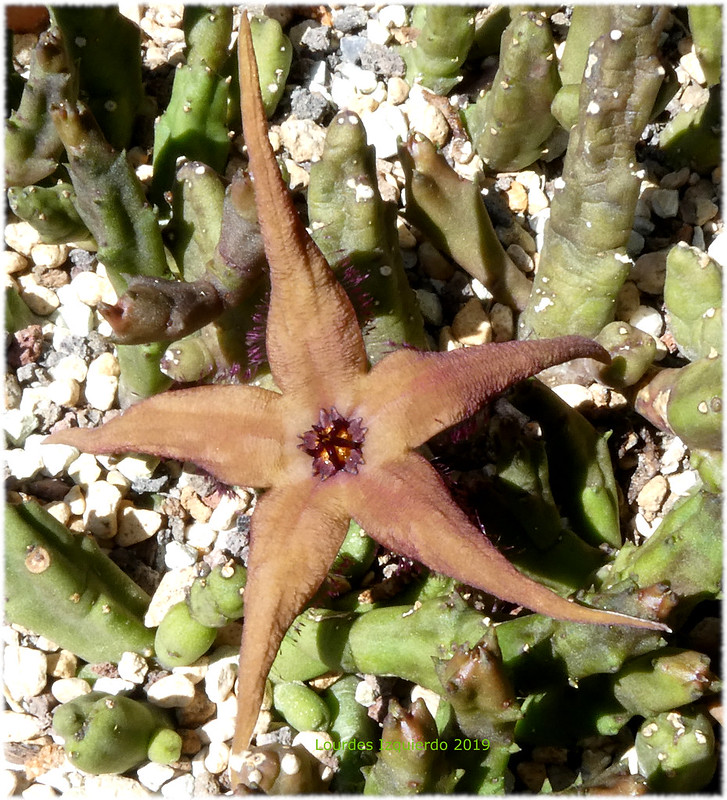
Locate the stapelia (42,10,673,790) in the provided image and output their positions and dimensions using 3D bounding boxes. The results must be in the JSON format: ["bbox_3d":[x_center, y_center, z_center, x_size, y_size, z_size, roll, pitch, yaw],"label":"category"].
[{"bbox_3d":[-0.030,0.123,1.607,0.773,0.731,0.903,-39,82,-5],"label":"stapelia"}]
